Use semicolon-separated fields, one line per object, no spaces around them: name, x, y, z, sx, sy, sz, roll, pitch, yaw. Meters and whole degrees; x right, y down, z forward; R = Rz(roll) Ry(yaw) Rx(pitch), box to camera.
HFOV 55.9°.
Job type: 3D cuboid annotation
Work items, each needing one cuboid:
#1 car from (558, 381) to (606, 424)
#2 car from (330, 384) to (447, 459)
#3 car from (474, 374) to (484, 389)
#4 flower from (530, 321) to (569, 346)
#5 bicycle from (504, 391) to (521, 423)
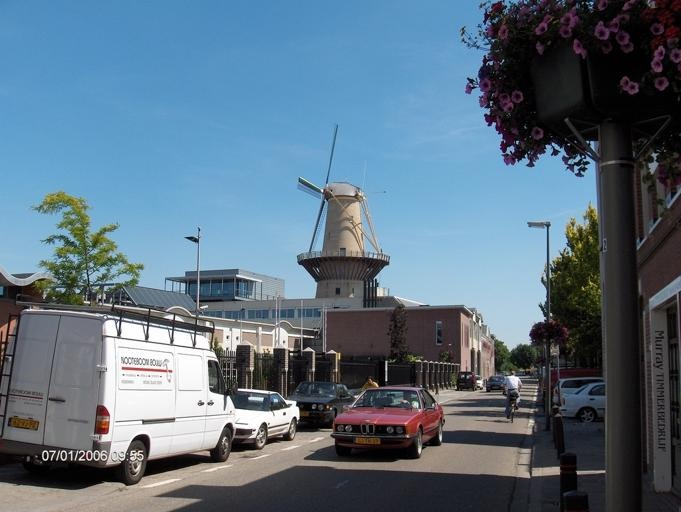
car;9.965;5.986;26.449;1.634;1.540;1.211;-1;-3;19
car;1.241;4.280;16.348;1.972;1.676;3.165;-2;-5;27
car;14.308;13.222;66.220;1.283;1.198;2.803;1;6;11
flower;9.683;3.573;30.020;1.610;1.092;1.827;-2;-5;32
bicycle;7.170;6.332;27.295;0.741;1.054;1.639;0;-2;11
